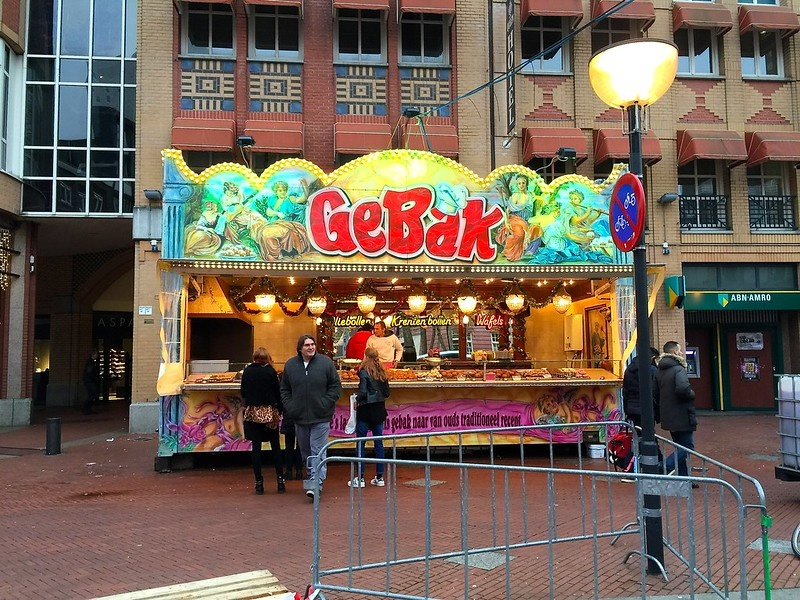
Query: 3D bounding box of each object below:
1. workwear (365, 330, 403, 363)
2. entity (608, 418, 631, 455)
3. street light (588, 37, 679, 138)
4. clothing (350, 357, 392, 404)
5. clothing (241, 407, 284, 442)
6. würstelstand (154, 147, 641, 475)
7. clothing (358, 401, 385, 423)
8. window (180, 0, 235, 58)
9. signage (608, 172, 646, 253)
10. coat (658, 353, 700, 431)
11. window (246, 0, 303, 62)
[{"bbox_3d":[-0.289,1.037,20.569,0.922,0.888,0.529,3,-15,-10],"label":"workwear"},{"bbox_3d":[3.989,2.612,17.097,0.371,0.436,0.471,-1,-1,14],"label":"entity"},{"bbox_3d":[3.554,-3.326,14.466,1.482,0.923,1.423,12,-36,-1],"label":"street light"},{"bbox_3d":[-0.581,1.605,17.877,0.460,0.844,0.735,-9,-15,40],"label":"clothing"},{"bbox_3d":[-2.612,2.292,17.676,0.897,0.828,0.614,2,-5,-16],"label":"clothing"},{"bbox_3d":[-0.177,0.341,19.704,7.327,4.645,2.580,-1,-6,-7],"label":"würstelstand"},{"bbox_3d":[-0.532,2.121,17.799,0.615,0.573,0.364,2,-7,-4],"label":"clothing"},{"bbox_3d":[-5.190,-7.235,25.054,1.635,1.838,0.081,1,-10,-10],"label":"window"},{"bbox_3d":[3.351,-1.309,13.885,0.260,1.152,0.782,0,-2,-17],"label":"signage"},{"bbox_3d":[4.954,1.682,17.080,0.377,1.419,0.747,1,-2,-39],"label":"coat"},{"bbox_3d":[-3.427,-7.249,25.271,1.616,1.811,0.986,0,-8,-10],"label":"window"}]
